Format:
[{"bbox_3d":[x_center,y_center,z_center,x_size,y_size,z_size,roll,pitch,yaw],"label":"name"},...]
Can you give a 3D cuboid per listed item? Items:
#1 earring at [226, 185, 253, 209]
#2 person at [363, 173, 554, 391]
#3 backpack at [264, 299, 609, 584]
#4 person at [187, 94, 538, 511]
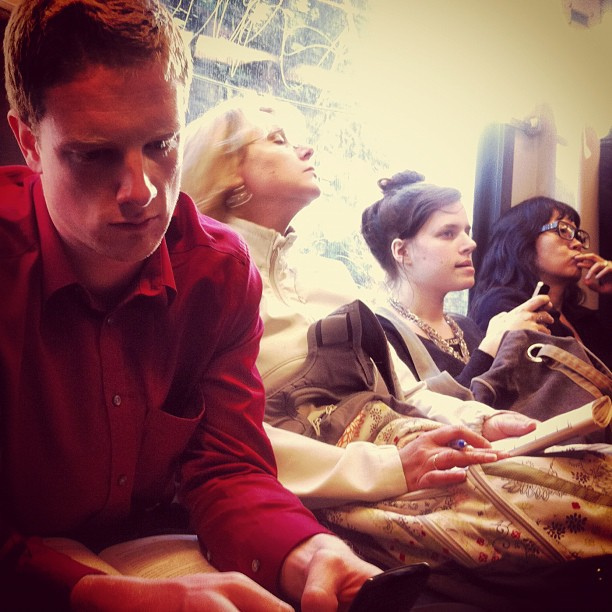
[{"bbox_3d":[-0.171,-0.281,1.599,0.072,0.040,0.018,-25,9,-5],"label":"earring"},{"bbox_3d":[0.437,-0.103,2.114,0.624,0.820,0.537,-9,4,17],"label":"person"},{"bbox_3d":[0.325,0.287,1.561,0.789,0.378,0.563,11,10,31],"label":"backpack"},{"bbox_3d":[0.145,0.076,2.016,0.969,1.240,0.807,-9,-8,16],"label":"person"}]
